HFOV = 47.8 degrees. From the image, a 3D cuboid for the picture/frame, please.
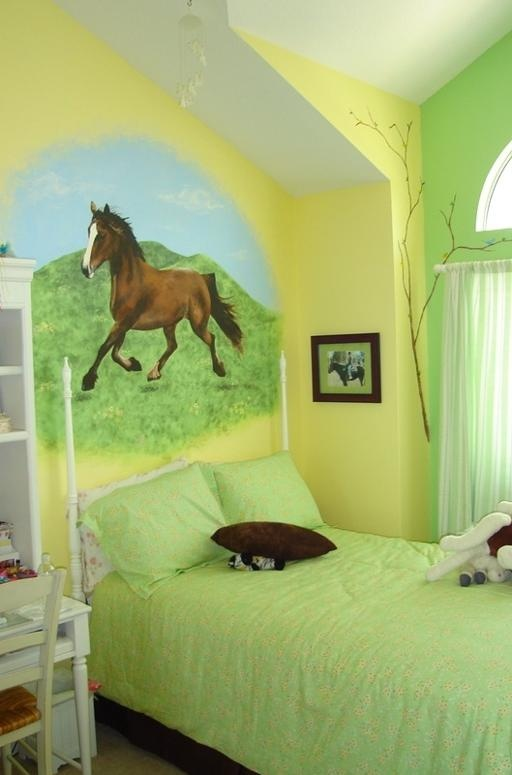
[{"bbox_3d":[0.542,-0.128,3.370,0.397,0.374,0.031,2,5,44],"label":"picture/frame"}]
